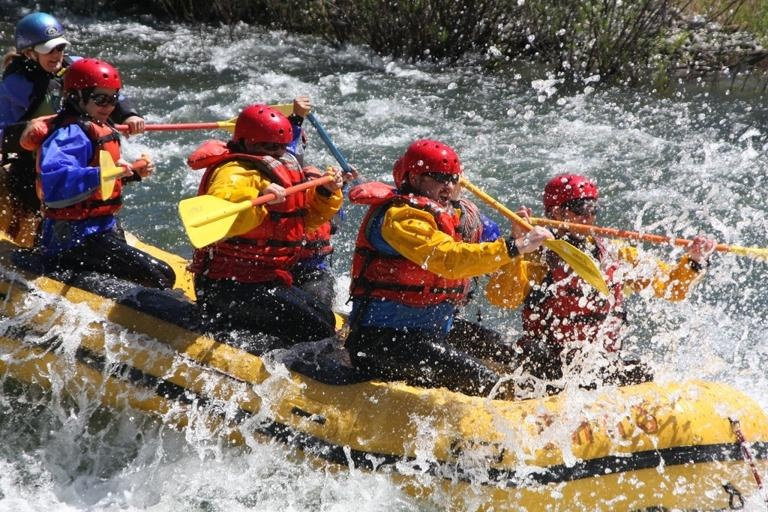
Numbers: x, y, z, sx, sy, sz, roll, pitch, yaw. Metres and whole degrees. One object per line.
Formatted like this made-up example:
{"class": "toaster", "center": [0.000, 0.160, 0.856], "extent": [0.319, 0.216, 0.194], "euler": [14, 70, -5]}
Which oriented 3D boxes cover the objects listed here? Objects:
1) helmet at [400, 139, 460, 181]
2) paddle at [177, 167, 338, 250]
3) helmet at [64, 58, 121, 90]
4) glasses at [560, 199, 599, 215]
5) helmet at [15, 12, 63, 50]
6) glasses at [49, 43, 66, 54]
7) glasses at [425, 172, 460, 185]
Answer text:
{"class": "helmet", "center": [0.369, -0.755, 7.133], "extent": [0.494, 0.273, 0.296], "euler": [5, 48, 1]}
{"class": "paddle", "center": [-1.002, -0.403, 7.373], "extent": [1.424, 0.059, 0.408], "euler": [-24, 70, -33]}
{"class": "helmet", "center": [-2.447, -1.526, 7.616], "extent": [0.378, 0.224, 0.286], "euler": [1, 11, 6]}
{"class": "glasses", "center": [1.591, -0.386, 7.384], "extent": [0.153, 0.099, 0.191], "euler": [-10, 5, -42]}
{"class": "helmet", "center": [-3.137, -2.010, 8.092], "extent": [0.383, 0.244, 0.307], "euler": [-8, 28, 28]}
{"class": "glasses", "center": [-2.939, -1.855, 8.110], "extent": [0.104, 0.103, 0.030], "euler": [-17, 61, -38]}
{"class": "glasses", "center": [0.438, -0.604, 7.067], "extent": [0.258, 0.116, 0.062], "euler": [0, 49, -4]}
